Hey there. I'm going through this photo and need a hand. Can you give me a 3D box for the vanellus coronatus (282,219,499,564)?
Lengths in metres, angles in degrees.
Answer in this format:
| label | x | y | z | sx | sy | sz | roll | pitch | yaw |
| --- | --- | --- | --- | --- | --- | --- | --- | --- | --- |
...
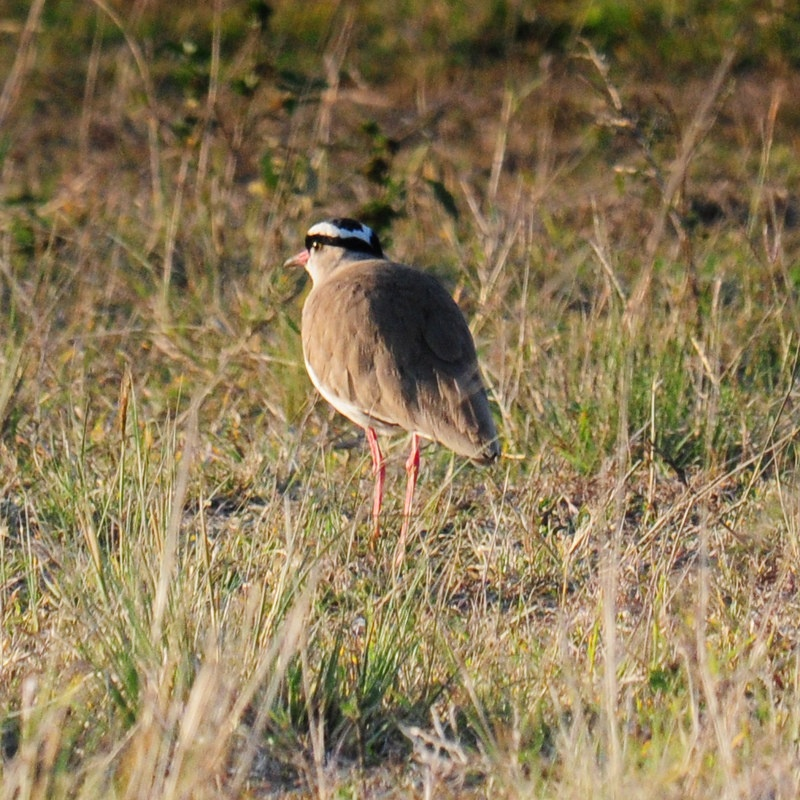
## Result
| label | x | y | z | sx | sy | sz | roll | pitch | yaw |
| --- | --- | --- | --- | --- | --- | --- | --- | --- | --- |
| vanellus coronatus | -0.115 | -0.252 | 6.049 | 0.710 | 1.894 | 1.147 | -5 | 3 | -40 |
